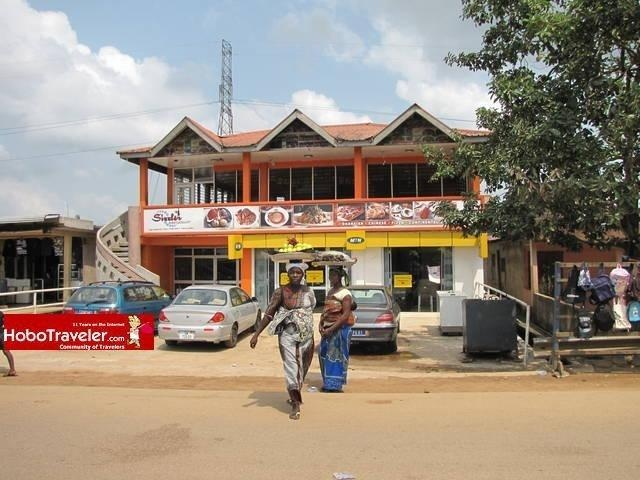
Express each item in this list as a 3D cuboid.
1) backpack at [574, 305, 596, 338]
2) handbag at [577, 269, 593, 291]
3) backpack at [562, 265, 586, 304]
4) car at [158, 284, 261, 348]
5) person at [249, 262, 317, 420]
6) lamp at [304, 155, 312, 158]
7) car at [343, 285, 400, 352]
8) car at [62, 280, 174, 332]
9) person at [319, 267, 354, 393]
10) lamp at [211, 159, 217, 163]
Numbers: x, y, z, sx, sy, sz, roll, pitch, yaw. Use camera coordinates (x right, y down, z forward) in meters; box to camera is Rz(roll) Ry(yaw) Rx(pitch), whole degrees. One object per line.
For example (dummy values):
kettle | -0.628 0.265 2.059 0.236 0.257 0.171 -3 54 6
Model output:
backpack | 5.326 1.671 14.305 0.368 0.581 0.232 2 7 19
handbag | 5.249 0.806 14.143 0.362 0.503 0.256 1 -11 4
backpack | 5.084 0.879 14.236 0.436 0.726 0.274 0 -10 41
car | -2.657 1.877 18.256 1.151 0.858 2.592 0 1 8
person | -0.518 1.491 11.434 0.725 2.125 0.875 1 7 12
lamp | -0.435 -3.128 26.898 0.309 0.115 0.639 -1 6 -1
car | 1.156 1.831 16.362 1.568 1.327 3.923 -1 2 7
car | -5.294 1.693 19.226 1.261 1.008 2.794 0 -2 14
person | 0.287 1.597 12.377 0.606 2.183 0.550 0 7 1
lamp | -4.149 -3.036 27.982 0.243 0.172 0.600 -2 7 -9
